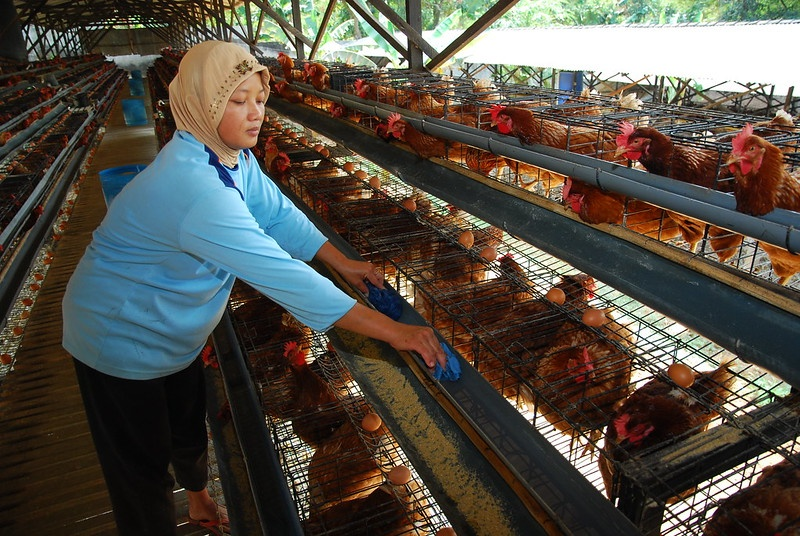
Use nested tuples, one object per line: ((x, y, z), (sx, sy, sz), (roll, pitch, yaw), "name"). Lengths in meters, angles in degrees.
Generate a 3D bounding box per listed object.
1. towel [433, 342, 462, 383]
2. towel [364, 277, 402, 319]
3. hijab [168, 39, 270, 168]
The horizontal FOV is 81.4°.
((0.156, 0.326, 1.553), (0.089, 0.098, 0.037), (-14, -10, -4), "towel")
((-0.069, 0.112, 1.986), (0.124, 0.049, 0.231), (-30, -13, 12), "towel")
((-0.635, -0.557, 1.630), (0.263, 0.427, 0.304), (-16, 34, -33), "hijab")
